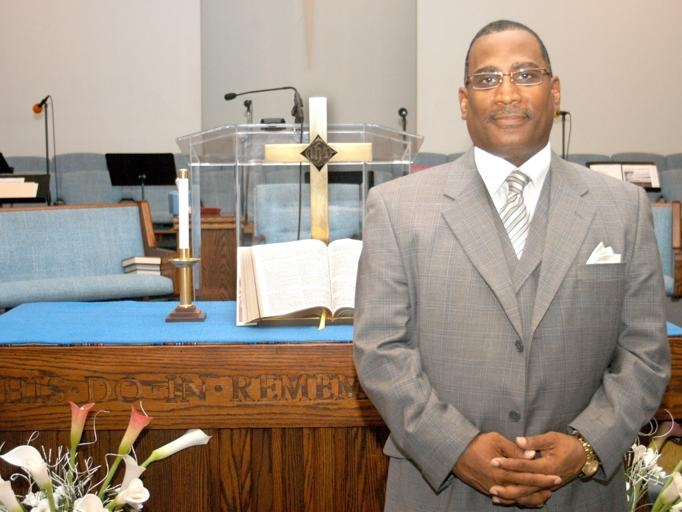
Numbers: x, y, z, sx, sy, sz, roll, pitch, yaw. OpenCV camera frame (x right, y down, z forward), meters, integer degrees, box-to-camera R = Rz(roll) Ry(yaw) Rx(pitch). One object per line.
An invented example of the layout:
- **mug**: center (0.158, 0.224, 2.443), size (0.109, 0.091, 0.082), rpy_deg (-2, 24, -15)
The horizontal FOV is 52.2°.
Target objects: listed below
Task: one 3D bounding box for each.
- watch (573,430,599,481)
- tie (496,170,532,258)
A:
- **watch**: center (0.576, 0.471, 1.634), size (0.057, 0.115, 0.026), rpy_deg (1, 11, 19)
- **tie**: center (0.432, -0.112, 1.731), size (0.078, 0.241, 0.029), rpy_deg (1, 36, 10)
